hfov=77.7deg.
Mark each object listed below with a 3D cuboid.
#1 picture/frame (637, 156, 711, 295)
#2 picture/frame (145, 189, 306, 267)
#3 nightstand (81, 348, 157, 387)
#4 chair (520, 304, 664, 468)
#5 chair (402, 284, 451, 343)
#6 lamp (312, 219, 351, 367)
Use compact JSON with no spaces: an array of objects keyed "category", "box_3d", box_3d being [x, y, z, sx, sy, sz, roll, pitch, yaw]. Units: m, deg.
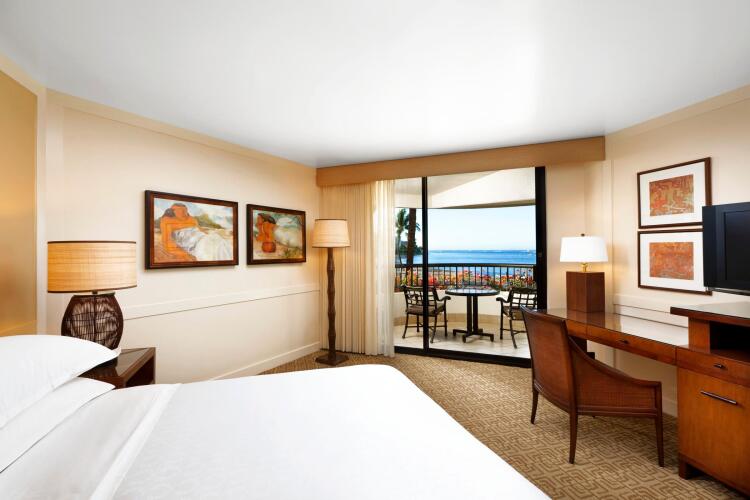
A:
[{"category":"picture/frame","box_3d":[3.010,-0.243,4.690,0.763,1.334,0.311,12,17,43]},{"category":"picture/frame","box_3d":[-1.707,-0.215,5.453,0.155,1.068,2.055,9,15,37]},{"category":"nightstand","box_3d":[-2.088,0.900,3.838,0.293,0.367,0.547,0,1,-4]},{"category":"chair","box_3d":[2.011,1.048,4.717,1.163,1.641,1.485,-2,-3,-8]},{"category":"chair","box_3d":[0.711,0.873,6.754,0.680,1.004,0.718,1,2,30]},{"category":"lamp","box_3d":[-0.573,0.548,6.318,0.497,1.927,1.027,-1,12,-3]}]
